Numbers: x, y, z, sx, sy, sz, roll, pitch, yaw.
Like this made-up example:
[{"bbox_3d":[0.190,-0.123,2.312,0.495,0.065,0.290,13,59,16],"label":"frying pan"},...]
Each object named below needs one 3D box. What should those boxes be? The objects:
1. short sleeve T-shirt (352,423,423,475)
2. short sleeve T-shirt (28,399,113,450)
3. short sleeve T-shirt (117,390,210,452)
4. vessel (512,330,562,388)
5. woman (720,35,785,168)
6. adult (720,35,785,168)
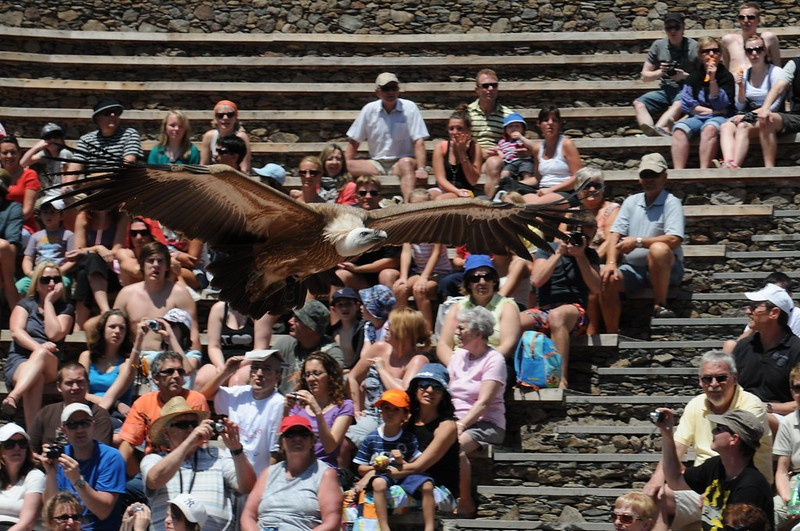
[{"bbox_3d":[-0.162,2.470,28.988,1.037,0.460,0.452,-1,11,6],"label":"short sleeve T-shirt"},{"bbox_3d":[-4.747,2.246,30.085,0.680,0.616,1.013,15,-6,-1],"label":"short sleeve T-shirt"},{"bbox_3d":[-3.235,2.117,29.463,1.146,0.798,0.723,-3,11,-6],"label":"short sleeve T-shirt"},{"bbox_3d":[1.983,1.342,30.442,0.886,0.676,0.675,3,2,17],"label":"vessel"},{"bbox_3d":[5.366,-2.562,33.569,0.862,1.967,1.274,1,12,15],"label":"woman"},{"bbox_3d":[5.366,-2.562,33.569,0.862,1.967,1.274,1,12,15],"label":"adult"}]
